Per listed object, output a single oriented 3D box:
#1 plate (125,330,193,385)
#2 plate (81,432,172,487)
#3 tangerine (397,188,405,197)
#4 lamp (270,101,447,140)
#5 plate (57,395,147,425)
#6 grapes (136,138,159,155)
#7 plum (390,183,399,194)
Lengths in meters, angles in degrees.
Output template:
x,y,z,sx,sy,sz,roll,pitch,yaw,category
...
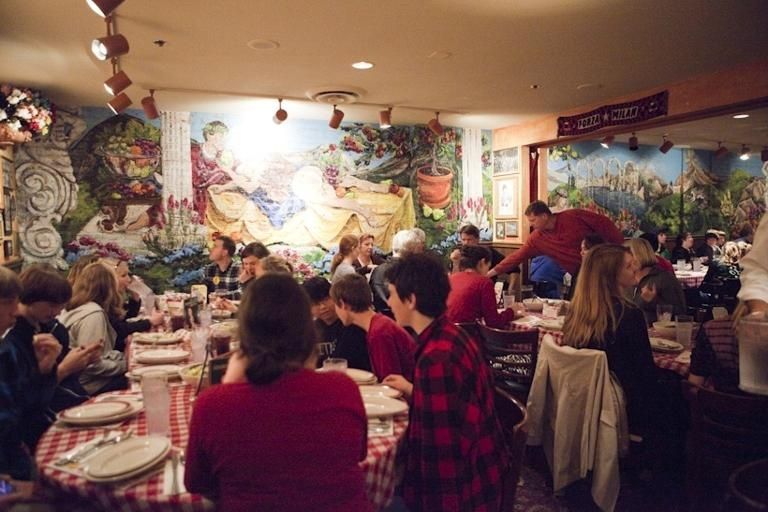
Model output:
x,y,z,sx,sy,sz,roll,pitch,yaw,category
-1.545,0.667,3.716,0.420,0.277,0.402,-2,8,-24,plate
-1.204,0.934,2.610,0.372,0.124,0.379,-1,6,-22,plate
0.258,-0.973,8.319,0.103,0.123,0.058,-42,17,8,tangerine
-0.279,-1.809,7.359,2.459,0.376,1.200,-2,6,-18,lamp
-1.507,0.836,2.923,0.329,0.048,0.309,1,4,-22,plate
-3.076,-1.407,7.043,0.250,0.163,0.106,-1,2,-29,grapes
0.157,-1.017,8.325,0.139,0.131,0.133,-1,9,-3,plum
